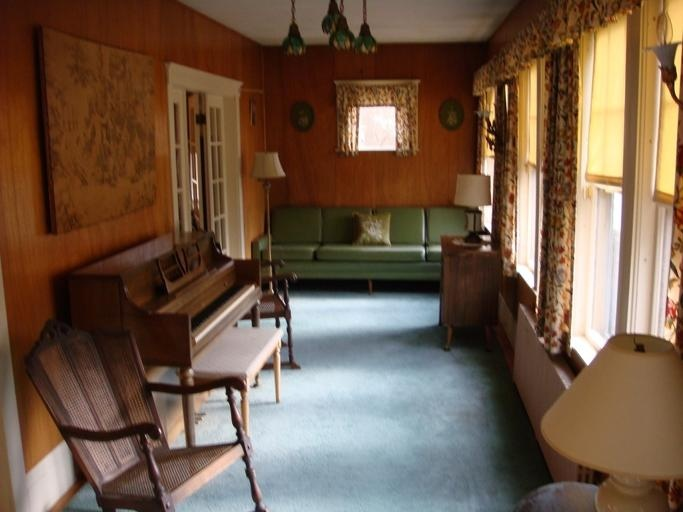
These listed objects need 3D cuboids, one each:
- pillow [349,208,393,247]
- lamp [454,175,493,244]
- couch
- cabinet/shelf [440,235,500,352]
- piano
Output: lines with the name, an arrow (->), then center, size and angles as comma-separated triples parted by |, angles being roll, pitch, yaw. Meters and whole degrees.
pillow -> 0.425, -0.350, 6.910 | 0.421, 0.479, 0.143 | 1, -13, 1
lamp -> 1.312, -0.481, 5.166 | 0.322, 0.688, 0.581 | 2, 13, 13
couch -> 0.415, -0.129, 7.097 | 3.007, 1.278, 1.084 | 1, -3, 5
cabinet/shelf -> 1.256, 0.384, 5.003 | 0.568, 0.952, 0.547 | 2, 13, 12
piano -> -1.106, 0.656, 3.868 | 0.619, 1.450, 1.760 | -6, 7, 6
